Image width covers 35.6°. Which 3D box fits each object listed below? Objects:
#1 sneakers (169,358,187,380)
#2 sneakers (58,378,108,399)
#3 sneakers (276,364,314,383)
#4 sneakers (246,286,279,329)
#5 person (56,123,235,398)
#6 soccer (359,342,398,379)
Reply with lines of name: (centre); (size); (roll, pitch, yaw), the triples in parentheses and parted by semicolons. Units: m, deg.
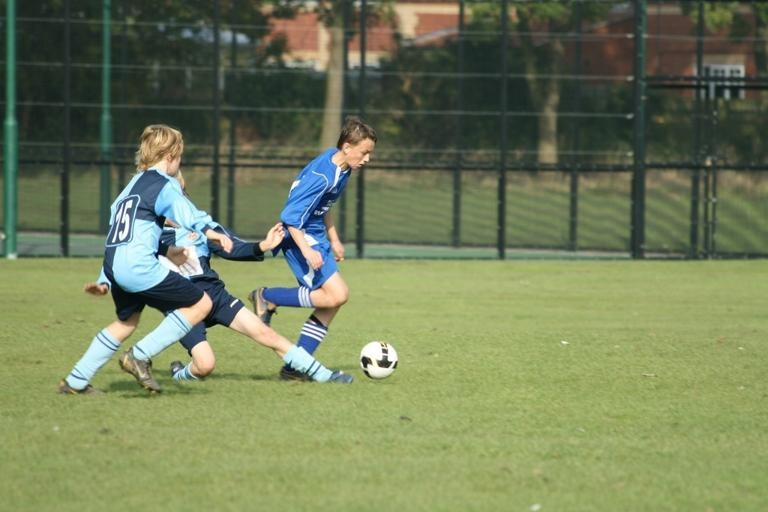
sneakers: (-1.951, 1.095, 11.592); (0.129, 0.203, 0.207); (2, -3, -27)
sneakers: (-2.809, 1.237, 11.214); (0.477, 0.169, 0.158); (1, 2, -11)
sneakers: (-0.862, 1.143, 11.623); (0.360, 0.159, 0.130); (3, 0, 7)
sneakers: (-1.241, 0.502, 12.021); (0.235, 0.458, 0.170); (-19, 3, 19)
person: (-2.186, 0.076, 11.034); (1.436, 2.455, 0.601); (-2, 15, -8)
soccer: (-0.054, 1.004, 11.746); (0.355, 0.335, 0.346); (0, 1, -16)
